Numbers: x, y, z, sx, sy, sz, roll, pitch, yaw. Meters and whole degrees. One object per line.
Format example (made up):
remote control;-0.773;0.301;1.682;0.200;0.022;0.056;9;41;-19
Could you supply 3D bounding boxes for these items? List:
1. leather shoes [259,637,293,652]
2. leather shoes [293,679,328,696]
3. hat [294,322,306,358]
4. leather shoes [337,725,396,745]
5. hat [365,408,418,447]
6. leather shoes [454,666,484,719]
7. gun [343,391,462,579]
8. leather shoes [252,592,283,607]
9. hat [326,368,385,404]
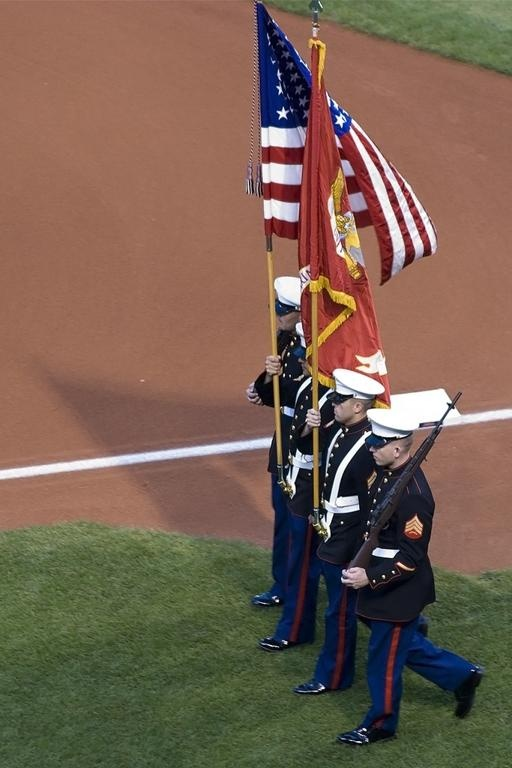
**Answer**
leather shoes;0.119;1.497;5.564;0.184;0.064;0.070;1;9;-23
leather shoes;0.287;1.625;5.143;0.149;0.053;0.073;9;24;-3
hat;0.261;-0.250;5.740;0.079;0.176;0.127;-11;7;-1
leather shoes;0.523;1.731;4.730;0.287;0.100;0.098;2;7;-9
hat;0.620;0.211;4.512;0.207;0.094;0.182;1;21;-24
leather shoes;1.057;1.553;4.909;0.149;0.311;0.109;5;28;-11
gun;0.713;0.441;4.665;0.389;0.933;0.473;8;18;10
leather shoes;0.072;1.344;6.013;0.183;0.069;0.076;6;42;-3
hat;0.518;0.012;4.913;0.201;0.065;0.174;4;21;-11
